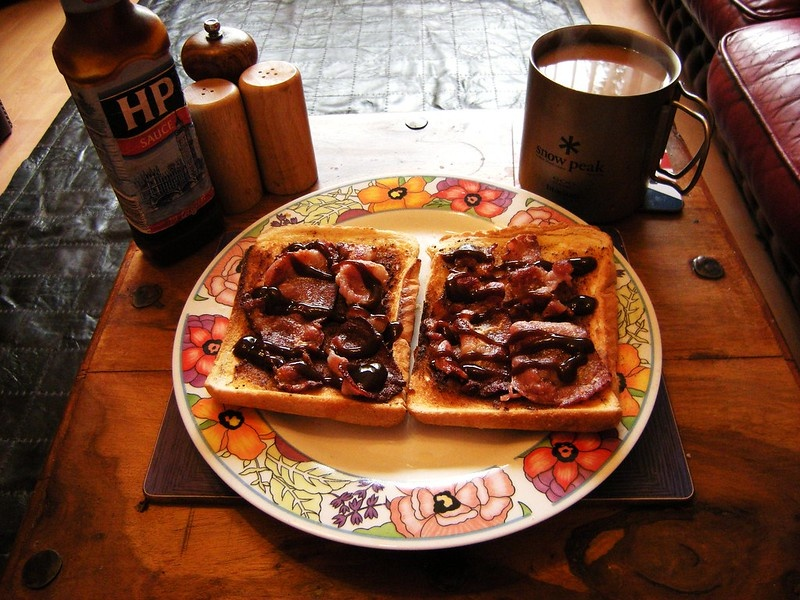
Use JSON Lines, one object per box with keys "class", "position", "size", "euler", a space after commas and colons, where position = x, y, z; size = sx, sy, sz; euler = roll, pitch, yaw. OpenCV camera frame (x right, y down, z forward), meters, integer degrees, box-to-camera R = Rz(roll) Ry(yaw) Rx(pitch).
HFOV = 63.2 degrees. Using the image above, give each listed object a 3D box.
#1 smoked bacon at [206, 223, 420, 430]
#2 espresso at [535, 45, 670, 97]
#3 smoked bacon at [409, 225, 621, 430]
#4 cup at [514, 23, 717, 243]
{"class": "smoked bacon", "position": [-0.216, 0.095, 1.654], "size": [0.617, 0.150, 0.465], "euler": [3, 57, 4]}
{"class": "espresso", "position": [0.565, -0.668, 1.882], "size": [0.407, 0.382, 0.046], "euler": [7, 90, 33]}
{"class": "smoked bacon", "position": [0.307, 0.087, 1.713], "size": [0.617, 0.158, 0.492], "euler": [1, 56, 11]}
{"class": "cup", "position": [0.552, -0.544, 1.943], "size": [0.727, 0.462, 0.469], "euler": [25, 59, 21]}
